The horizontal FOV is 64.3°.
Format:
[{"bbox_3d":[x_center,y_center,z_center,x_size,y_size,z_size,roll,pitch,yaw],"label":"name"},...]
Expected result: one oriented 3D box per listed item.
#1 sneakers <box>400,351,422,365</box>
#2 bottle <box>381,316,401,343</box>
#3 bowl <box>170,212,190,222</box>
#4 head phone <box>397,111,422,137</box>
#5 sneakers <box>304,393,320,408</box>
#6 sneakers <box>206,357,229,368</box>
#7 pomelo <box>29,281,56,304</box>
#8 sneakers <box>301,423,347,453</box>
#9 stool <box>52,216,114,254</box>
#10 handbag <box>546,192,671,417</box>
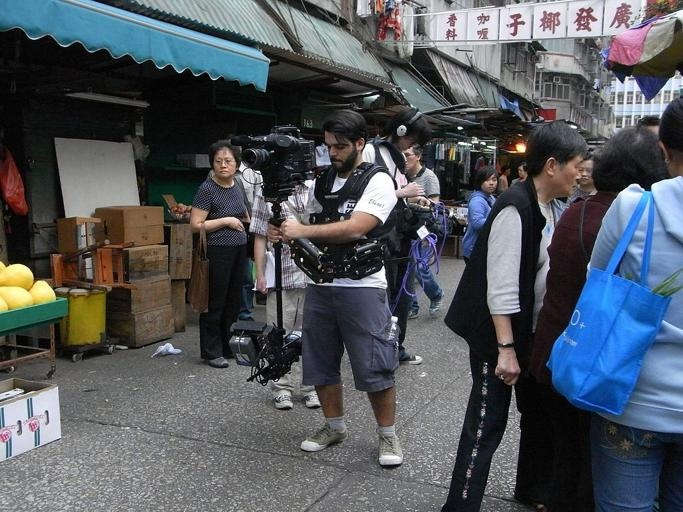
[{"bbox_3d":[0.729,1.081,5.807,0.296,0.117,0.104,0,8,-6],"label":"sneakers"},{"bbox_3d":[0.361,0.491,3.718,0.141,0.233,0.137,3,-10,0],"label":"bottle"},{"bbox_3d":[-2.039,-0.511,7.237,0.208,0.088,0.201,2,5,0],"label":"bowl"},{"bbox_3d":[0.610,-1.176,4.824,0.072,0.177,0.198,39,28,8],"label":"head phone"},{"bbox_3d":[-0.225,1.227,4.631,0.092,0.088,0.231,1,-5,-13],"label":"sneakers"},{"bbox_3d":[-1.226,1.090,5.610,0.244,0.083,0.088,-1,-3,36],"label":"sneakers"},{"bbox_3d":[-2.459,0.319,4.650,0.174,0.214,0.173,-19,-13,-36],"label":"pomelo"},{"bbox_3d":[-0.113,1.309,3.966,0.401,0.153,0.135,-2,9,-38],"label":"sneakers"},{"bbox_3d":[-2.750,-0.177,6.040,0.456,0.580,0.596,3,-2,0],"label":"stool"},{"bbox_3d":[0.985,0.326,2.068,0.381,0.522,0.199,6,11,30],"label":"handbag"}]
